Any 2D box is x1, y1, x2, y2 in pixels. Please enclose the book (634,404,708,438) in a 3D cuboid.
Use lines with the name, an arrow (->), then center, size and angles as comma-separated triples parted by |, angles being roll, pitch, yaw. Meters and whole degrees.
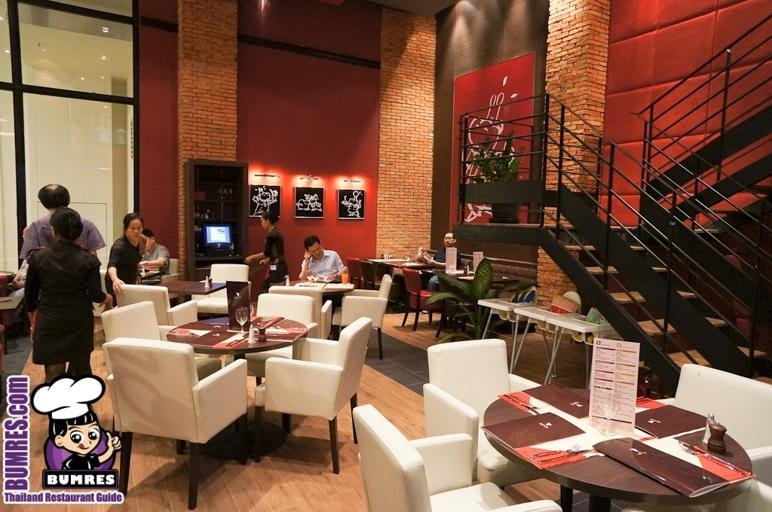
book -> 2.166, 1.262, 4.206 | 0.589, 0.121, 0.312 | 1, 6, -20

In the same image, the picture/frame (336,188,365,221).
picture/frame -> -0.773, -1.111, 11.621 | 0.731, 0.670, 0.098 | 0, 6, -35

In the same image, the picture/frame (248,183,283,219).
picture/frame -> -2.338, -1.065, 10.477 | 0.868, 0.797, 0.115 | -1, 0, -35

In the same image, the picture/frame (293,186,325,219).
picture/frame -> -1.595, -1.103, 11.170 | 0.685, 0.627, 0.092 | -5, 6, -35

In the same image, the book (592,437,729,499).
book -> 1.933, 1.463, 3.887 | 0.559, 0.074, 0.738 | 5, 4, -35

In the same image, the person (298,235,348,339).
person -> -0.931, 0.442, 8.440 | 0.698, 1.489, 0.816 | -10, 3, 2

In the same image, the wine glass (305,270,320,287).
wine glass -> -1.052, 0.338, 7.949 | 0.175, 0.251, 0.157 | -4, 11, -25

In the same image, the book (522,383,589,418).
book -> 1.425, 1.165, 4.471 | 0.393, 0.025, 0.545 | -7, 17, -36

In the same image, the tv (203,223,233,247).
tv -> -3.038, -0.353, 9.981 | 0.662, 0.526, 0.329 | 0, 1, -30

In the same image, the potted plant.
potted plant -> 1.509, -1.186, 7.417 | 0.565, 0.801, 0.519 | 5, 8, 1

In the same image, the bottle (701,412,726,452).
bottle -> 2.357, 1.289, 4.042 | 0.173, 0.222, 0.265 | -1, -1, 9
